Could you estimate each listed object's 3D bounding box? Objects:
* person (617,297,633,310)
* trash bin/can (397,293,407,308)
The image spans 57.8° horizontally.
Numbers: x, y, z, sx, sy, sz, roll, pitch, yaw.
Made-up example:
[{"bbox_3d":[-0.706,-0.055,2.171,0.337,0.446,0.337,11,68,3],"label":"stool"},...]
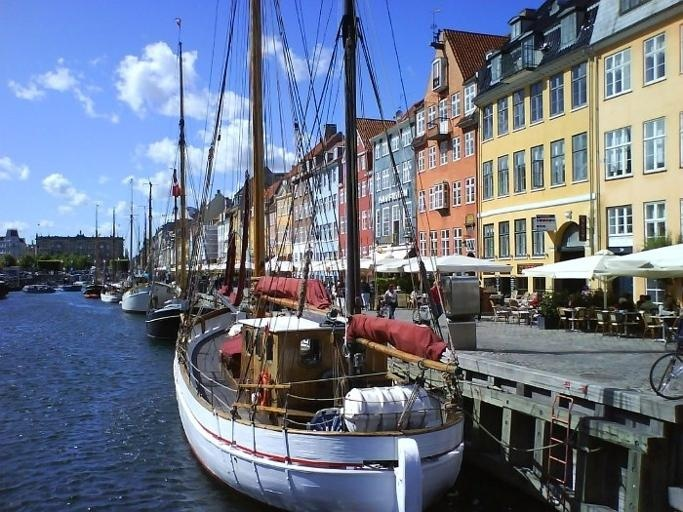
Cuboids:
[{"bbox_3d":[10.256,1.718,22.420,0.972,0.467,0.370,2,-5,-42],"label":"person"},{"bbox_3d":[3.635,2.611,37.172,0.658,0.808,1.344,-2,11,6],"label":"trash bin/can"}]
